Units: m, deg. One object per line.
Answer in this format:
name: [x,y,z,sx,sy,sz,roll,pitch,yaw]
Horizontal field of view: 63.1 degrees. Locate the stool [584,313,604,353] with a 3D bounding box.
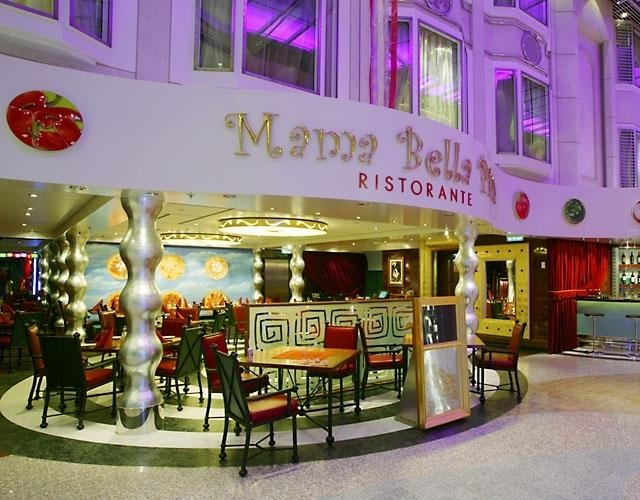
stool: [6.549,1.947,12.500,0.432,0.981,1.170,3,5,28]

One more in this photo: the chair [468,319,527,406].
chair: [2.904,1.813,8.605,0.960,1.212,0.994,2,-3,-23]

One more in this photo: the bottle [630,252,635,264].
bottle: [8.678,0.225,14.511,0.117,0.332,0.040,3,5,32]

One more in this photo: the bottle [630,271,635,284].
bottle: [8.680,0.788,14.482,0.143,0.310,0.079,4,5,34]
